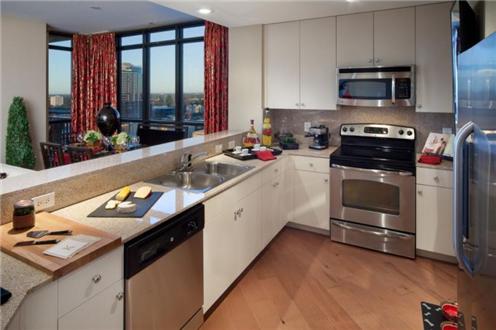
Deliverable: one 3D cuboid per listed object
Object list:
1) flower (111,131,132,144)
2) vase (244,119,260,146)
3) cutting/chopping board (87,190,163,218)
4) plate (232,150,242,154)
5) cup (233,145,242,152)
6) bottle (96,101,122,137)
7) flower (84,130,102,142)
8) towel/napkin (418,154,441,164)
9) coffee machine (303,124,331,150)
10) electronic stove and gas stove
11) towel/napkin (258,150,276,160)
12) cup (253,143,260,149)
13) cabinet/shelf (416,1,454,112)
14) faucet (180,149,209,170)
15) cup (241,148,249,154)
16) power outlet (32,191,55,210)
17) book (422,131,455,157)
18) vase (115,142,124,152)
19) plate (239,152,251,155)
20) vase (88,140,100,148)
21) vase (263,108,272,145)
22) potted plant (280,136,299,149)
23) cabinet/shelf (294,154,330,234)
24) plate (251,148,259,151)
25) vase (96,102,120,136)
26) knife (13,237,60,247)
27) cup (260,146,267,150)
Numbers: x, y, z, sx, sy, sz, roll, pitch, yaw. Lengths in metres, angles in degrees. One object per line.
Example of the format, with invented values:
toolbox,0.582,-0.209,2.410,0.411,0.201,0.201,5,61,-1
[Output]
flower,-1.738,-0.359,4.589,0.224,0.185,0.196,-3,3,7
vase,0.059,-0.409,4.412,0.224,0.349,0.242,-5,14,-16
cutting/chopping board,-0.957,0.306,2.724,0.475,0.074,0.448,-3,14,-1
plate,-0.135,-0.158,3.979,0.135,0.037,0.083,6,17,31
cup,-0.125,-0.191,4.011,0.080,0.061,0.066,0,5,17
bottle,-1.692,-0.539,4.218,0.283,0.500,0.310,11,13,-3
flower,-2.241,-0.417,4.899,0.187,0.155,0.183,-1,4,12
towel/napkin,2.017,-0.067,3.740,0.145,0.047,0.144,-13,16,-43
coffee machine,0.934,-0.397,4.637,0.365,0.386,0.274,-2,4,-38
electronic stove and gas stove,1.487,-0.122,4.056,0.918,0.147,0.526,4,15,24
towel/napkin,0.219,-0.124,4.000,0.233,0.081,0.285,-4,14,-6
cup,0.110,-0.233,4.167,0.060,0.060,0.073,0,-4,-7
cabinet/shelf,2.049,-1.169,3.747,0.460,1.109,0.210,7,14,26
faucet,-0.588,-0.077,3.564,0.270,0.172,0.451,-5,14,-11
cup,-0.034,-0.163,3.965,0.076,0.073,0.061,-1,6,-2
power outlet,-1.505,0.259,2.482,0.018,0.097,0.138,6,11,30
book,2.147,-0.235,3.814,0.375,0.354,0.086,14,-16,39
vase,-1.723,-0.236,4.544,0.142,0.098,0.080,9,15,33
plate,-0.022,-0.131,3.931,0.150,0.026,0.112,-4,14,-4
vase,-2.206,-0.298,4.866,0.106,0.059,0.128,-1,1,-35
vase,0.257,-0.535,4.667,0.140,0.492,0.325,-2,13,3
potted plant,0.537,-0.306,4.528,0.263,0.159,0.201,1,14,13
cabinet/shelf,0.801,0.329,4.260,0.434,0.883,0.169,1,14,15
plate,0.090,-0.198,4.137,0.091,0.028,0.105,-2,14,3
vase,-1.726,-0.560,4.199,0.268,0.434,0.334,-5,14,-9
knife,-1.364,0.502,2.186,0.164,0.020,0.038,-2,8,-19
cup,0.196,-0.207,4.146,0.045,0.041,0.057,-1,-3,18
